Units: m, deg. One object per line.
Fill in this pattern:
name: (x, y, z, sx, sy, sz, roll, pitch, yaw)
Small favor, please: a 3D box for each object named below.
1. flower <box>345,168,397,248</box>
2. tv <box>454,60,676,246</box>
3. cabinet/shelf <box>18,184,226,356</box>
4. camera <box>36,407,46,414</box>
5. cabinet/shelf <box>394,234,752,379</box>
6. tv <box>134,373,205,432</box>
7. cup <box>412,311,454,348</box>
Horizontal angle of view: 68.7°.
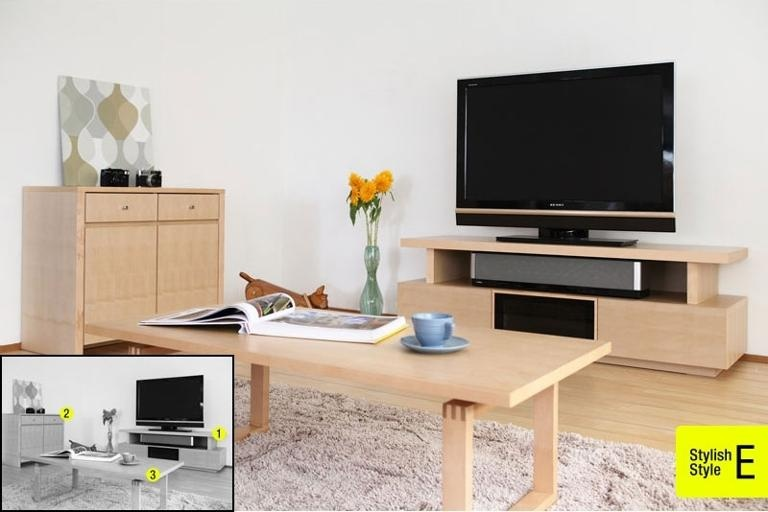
flower: (-0.099, -0.335, 4.165, 0.334, 0.560, 0.386, 2, 4, -41)
tv: (1.139, -0.667, 3.687, 1.390, 1.071, 0.127, 3, 6, 30)
cabinet/shelf: (-1.798, 0.060, 3.980, 0.607, 1.064, 1.177, 5, 5, 28)
camera: (-0.819, 0.369, 1.346, 0.033, 0.013, 0.011, 3, 4, 45)
cabinet/shelf: (1.138, 0.253, 3.748, 2.014, 0.729, 0.608, 3, 6, 31)
tv: (-0.518, 0.361, 1.366, 0.187, 0.131, 0.042, -4, -6, 13)
cup: (0.150, 0.236, 1.742, 0.117, 0.090, 0.143, 2, 3, -43)
